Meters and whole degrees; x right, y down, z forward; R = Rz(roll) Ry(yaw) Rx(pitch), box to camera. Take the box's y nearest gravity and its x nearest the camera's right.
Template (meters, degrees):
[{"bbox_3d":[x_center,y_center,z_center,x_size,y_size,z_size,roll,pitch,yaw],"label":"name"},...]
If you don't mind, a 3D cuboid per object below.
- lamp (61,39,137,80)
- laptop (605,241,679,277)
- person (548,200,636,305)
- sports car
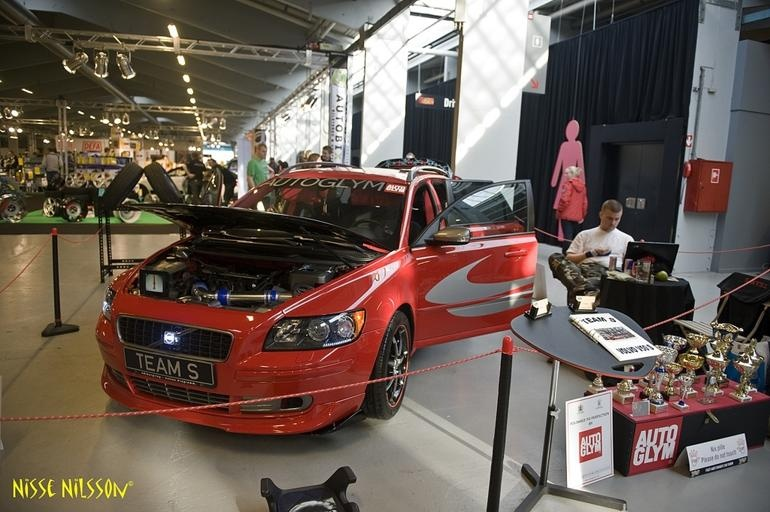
[{"bbox_3d":[-8.593,-5.855,15.050,1.986,0.989,0.555,3,11,1],"label":"lamp"},{"bbox_3d":[2.821,-0.070,5.227,0.493,0.355,0.357,3,13,8],"label":"laptop"},{"bbox_3d":[2.388,-0.020,5.556,0.948,1.304,1.185,12,3,19],"label":"person"},{"bbox_3d":[-0.475,0.217,4.453,3.581,2.164,1.842,-4,11,-39],"label":"sports car"}]
